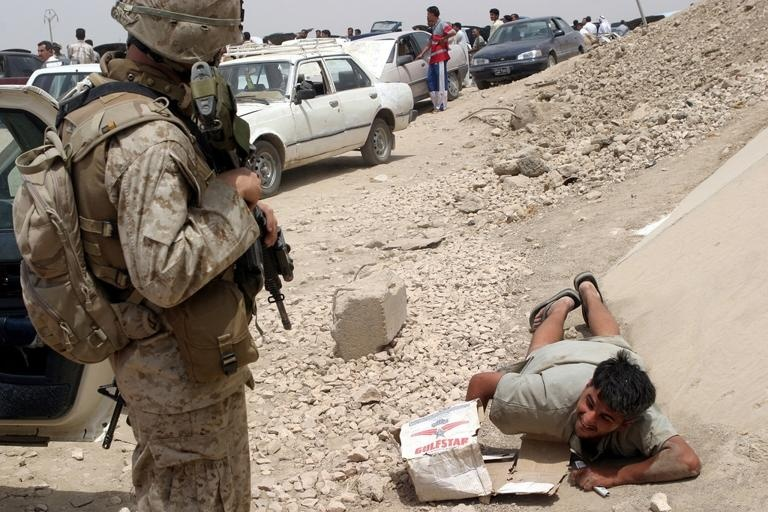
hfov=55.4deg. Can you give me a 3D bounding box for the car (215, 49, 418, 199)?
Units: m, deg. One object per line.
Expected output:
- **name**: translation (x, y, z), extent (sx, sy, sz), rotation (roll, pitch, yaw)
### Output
- **car**: translation (-1.573, -2.136, 10.651), extent (2.317, 1.694, 4.346), rotation (11, 22, 33)

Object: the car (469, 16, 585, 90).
- **car**: translation (2.979, -4.410, 15.610), extent (1.577, 1.217, 2.068), rotation (8, 22, 35)

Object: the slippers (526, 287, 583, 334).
- **slippers**: translation (1.266, 0.423, 5.512), extent (0.513, 0.197, 0.183), rotation (-41, -1, -11)

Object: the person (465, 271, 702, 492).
- **person**: translation (1.155, 0.827, 4.605), extent (1.059, 0.669, 1.496), rotation (-6, 18, -3)

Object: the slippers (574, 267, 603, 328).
- **slippers**: translation (1.526, 0.305, 5.495), extent (0.170, 0.459, 0.159), rotation (-26, -27, 31)
